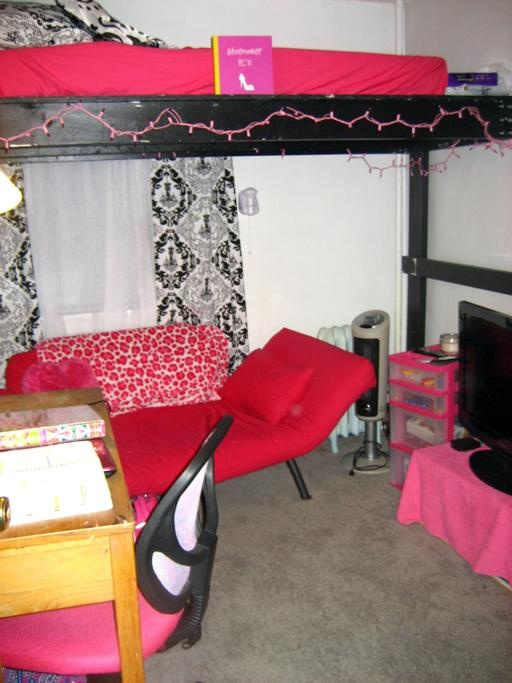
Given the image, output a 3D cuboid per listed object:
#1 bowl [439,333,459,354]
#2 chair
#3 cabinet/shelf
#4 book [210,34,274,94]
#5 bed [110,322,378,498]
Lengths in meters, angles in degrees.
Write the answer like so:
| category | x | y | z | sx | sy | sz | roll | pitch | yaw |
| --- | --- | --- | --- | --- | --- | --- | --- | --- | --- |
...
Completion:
| category | x | y | z | sx | sy | sz | roll | pitch | yaw |
| --- | --- | --- | --- | --- | --- | --- | --- | --- | --- |
| bowl | 0.976 | 0.009 | 2.660 | 0.097 | 0.066 | 0.095 | 0 | 5 | 0 |
| chair | -0.250 | 0.505 | 1.565 | 0.675 | 0.880 | 0.577 | 3 | 11 | -3 |
| cabinet/shelf | 0.932 | 0.391 | 2.668 | 0.470 | 0.644 | 0.453 | -1 | 4 | 3 |
| book | -0.048 | -1.039 | 1.980 | 0.236 | 0.242 | 0.057 | -5 | 8 | -14 |
| bed | -0.068 | 0.341 | 2.610 | 1.191 | 0.403 | 0.711 | -8 | 16 | -26 |
